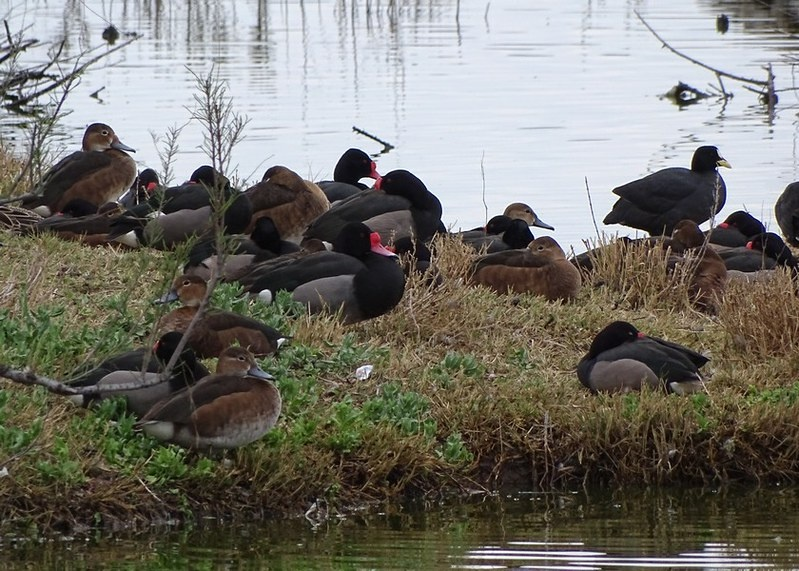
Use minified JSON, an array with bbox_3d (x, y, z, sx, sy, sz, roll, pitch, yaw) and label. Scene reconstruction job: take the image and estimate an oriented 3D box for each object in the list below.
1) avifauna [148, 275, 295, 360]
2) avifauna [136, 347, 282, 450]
[{"bbox_3d":[-1.842,0.358,12.296,1.521,0.855,0.760,6,7,-25],"label":"avifauna"},{"bbox_3d":[-1.699,1.021,10.742,1.210,0.918,0.488,0,0,-12],"label":"avifauna"}]
